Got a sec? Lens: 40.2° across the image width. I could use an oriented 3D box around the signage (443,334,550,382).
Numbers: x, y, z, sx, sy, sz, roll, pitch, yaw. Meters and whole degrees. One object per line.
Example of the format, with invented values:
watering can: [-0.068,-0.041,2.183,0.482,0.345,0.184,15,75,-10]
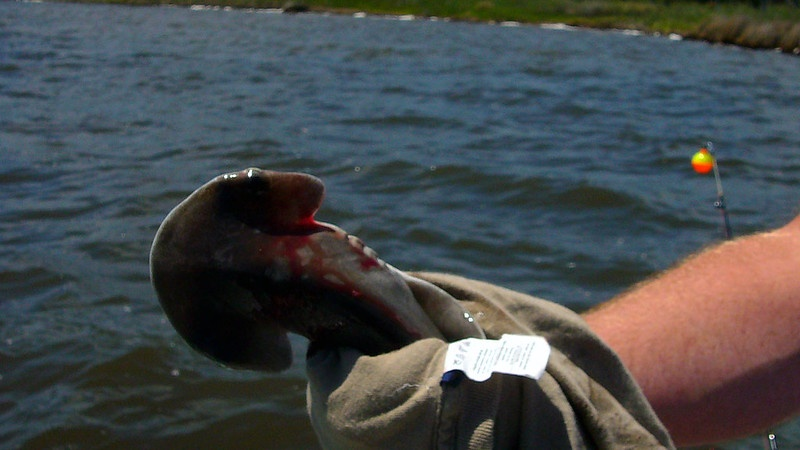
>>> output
signage: [1.292,1.799,14.667,1.360,0.548,0.483,7,36,-2]
